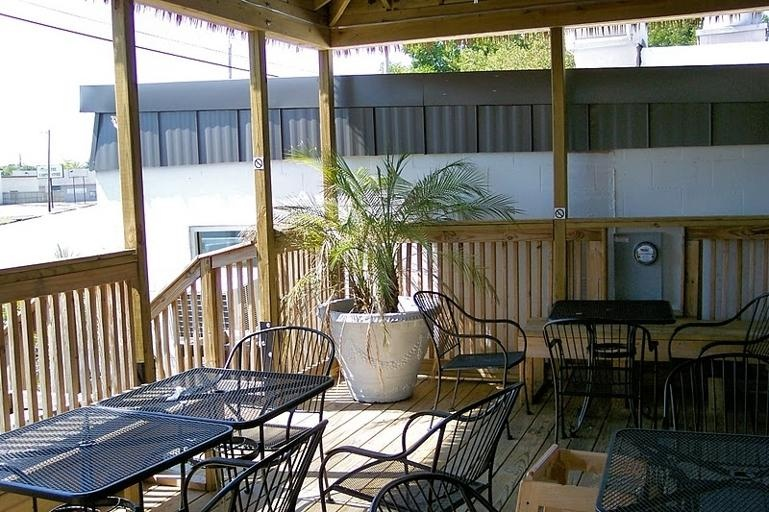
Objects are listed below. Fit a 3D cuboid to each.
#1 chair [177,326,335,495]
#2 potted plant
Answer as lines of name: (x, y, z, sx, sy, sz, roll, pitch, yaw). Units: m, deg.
chair: (-0.851, 1.118, 4.768, 1.052, 1.210, 1.000, 7, -8, -44)
potted plant: (0.003, 0.237, 7.054, 2.335, 2.055, 2.292, 3, -3, -35)
